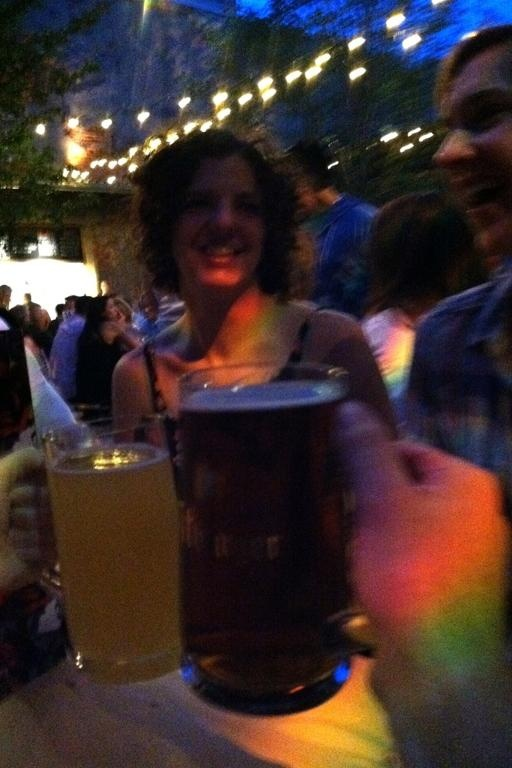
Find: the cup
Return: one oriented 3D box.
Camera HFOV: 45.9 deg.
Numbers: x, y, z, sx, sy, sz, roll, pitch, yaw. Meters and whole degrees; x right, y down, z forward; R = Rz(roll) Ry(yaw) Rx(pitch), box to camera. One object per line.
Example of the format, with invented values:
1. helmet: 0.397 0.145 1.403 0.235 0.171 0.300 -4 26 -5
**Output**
1. cup: -0.042 0.103 0.437 0.233 0.229 0.112 4 11 37
